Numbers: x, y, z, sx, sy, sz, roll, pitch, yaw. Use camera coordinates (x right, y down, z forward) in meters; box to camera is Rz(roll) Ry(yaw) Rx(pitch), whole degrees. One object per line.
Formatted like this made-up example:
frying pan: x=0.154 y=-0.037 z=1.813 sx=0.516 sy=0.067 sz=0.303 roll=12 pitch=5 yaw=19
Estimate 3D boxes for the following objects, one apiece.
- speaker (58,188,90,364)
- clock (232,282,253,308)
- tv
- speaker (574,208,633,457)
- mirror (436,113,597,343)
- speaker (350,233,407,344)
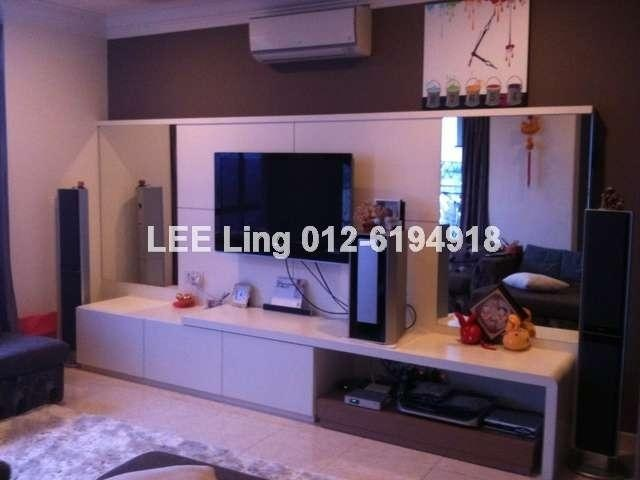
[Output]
speaker: x=-2.219 y=0.032 z=4.853 sx=0.148 sy=1.000 sz=0.129 roll=-1 pitch=-3 yaw=14
clock: x=-0.655 y=0.461 z=4.604 sx=0.191 sy=0.200 sz=0.046 roll=3 pitch=-5 yaw=35
tv: x=-0.311 y=-0.311 z=4.356 sx=1.134 sy=0.811 sz=0.118 roll=2 pitch=4 yaw=10
speaker: x=1.711 y=0.570 z=3.300 sx=0.279 sy=1.498 sz=0.165 roll=5 pitch=10 yaw=26
mirror: x=1.325 y=-0.143 z=3.641 sx=0.865 sy=1.397 sz=0.122 roll=5 pitch=10 yaw=26
speaker: x=0.367 y=0.333 z=3.760 sx=0.349 sy=0.727 sz=0.147 roll=4 pitch=10 yaw=22
